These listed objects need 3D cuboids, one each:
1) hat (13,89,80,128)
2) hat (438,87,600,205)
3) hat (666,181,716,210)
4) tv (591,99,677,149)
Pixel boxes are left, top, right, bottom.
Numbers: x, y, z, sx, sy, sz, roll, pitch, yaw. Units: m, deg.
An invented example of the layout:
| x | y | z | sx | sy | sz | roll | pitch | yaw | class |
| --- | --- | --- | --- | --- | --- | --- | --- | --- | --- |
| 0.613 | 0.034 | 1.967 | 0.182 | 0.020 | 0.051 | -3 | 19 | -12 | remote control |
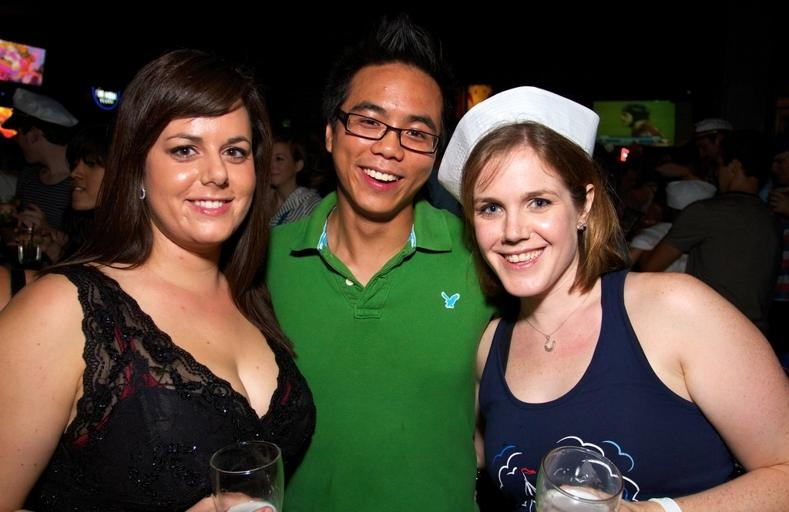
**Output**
| x | y | z | sx | sy | sz | roll | pitch | yaw | class |
| --- | --- | --- | --- | --- | --- | --- | --- | --- | --- |
| -3.511 | -1.486 | 6.106 | 0.555 | 0.199 | 0.418 | 19 | 28 | -11 | hat |
| 0.668 | -0.701 | 3.454 | 0.730 | 0.618 | 0.323 | -8 | 7 | 15 | hat |
| 2.878 | -0.573 | 6.000 | 0.304 | 0.290 | 0.425 | -1 | -1 | -23 | hat |
| 4.226 | -2.394 | 10.996 | 1.378 | 0.903 | 0.023 | 0 | -6 | 3 | tv |
